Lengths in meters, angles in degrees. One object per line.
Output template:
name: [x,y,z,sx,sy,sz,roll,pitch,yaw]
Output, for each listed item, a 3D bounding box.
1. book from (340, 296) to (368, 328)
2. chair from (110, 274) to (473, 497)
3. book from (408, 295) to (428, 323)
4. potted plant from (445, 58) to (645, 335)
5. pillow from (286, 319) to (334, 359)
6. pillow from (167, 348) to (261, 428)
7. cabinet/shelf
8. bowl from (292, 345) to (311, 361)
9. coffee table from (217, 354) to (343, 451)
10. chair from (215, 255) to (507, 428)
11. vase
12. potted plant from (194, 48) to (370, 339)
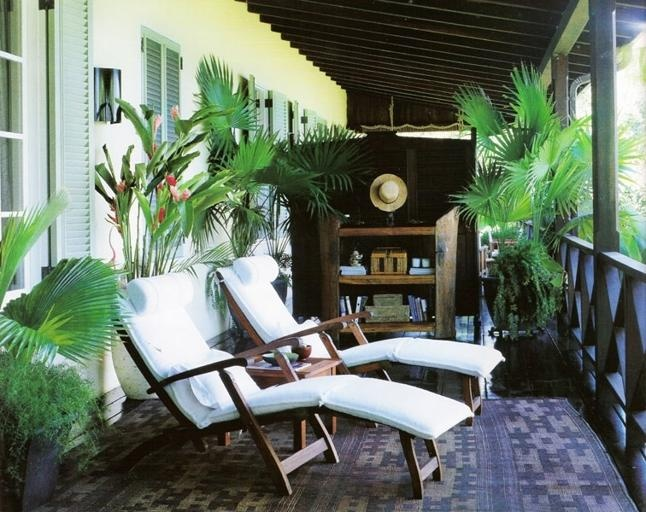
book: [0.281,0.523,4.945,0.247,0.297,0.092,-1,4,-4]
chair: [-0.224,0.662,2.984,1.739,1.206,0.879,-2,-1,16]
book: [0.987,0.568,5.589,0.179,0.356,0.335,-1,2,15]
potted plant: [2.408,-0.647,6.364,2.233,3.777,2.471,2,4,32]
pillow: [-0.103,0.575,3.707,0.197,0.290,0.214,-3,2,-28]
pillow: [-0.572,0.699,2.905,0.452,0.351,0.151,-6,-33,-52]
cabinet/shelf: [0.674,0.215,5.407,1.250,1.447,0.493,0,0,8]
bowl: [-0.135,0.628,3.459,0.089,0.068,0.098,-1,-8,4]
coffee table: [-0.216,0.791,3.300,0.505,0.543,0.543,-1,-1,26]
chair: [0.254,0.546,3.828,1.749,1.235,0.993,-6,-1,14]
vase: [-1.447,0.862,4.195,0.323,0.442,0.356,-10,-5,12]
potted plant: [-0.813,-0.518,5.540,1.297,2.064,1.621,-9,-12,31]
